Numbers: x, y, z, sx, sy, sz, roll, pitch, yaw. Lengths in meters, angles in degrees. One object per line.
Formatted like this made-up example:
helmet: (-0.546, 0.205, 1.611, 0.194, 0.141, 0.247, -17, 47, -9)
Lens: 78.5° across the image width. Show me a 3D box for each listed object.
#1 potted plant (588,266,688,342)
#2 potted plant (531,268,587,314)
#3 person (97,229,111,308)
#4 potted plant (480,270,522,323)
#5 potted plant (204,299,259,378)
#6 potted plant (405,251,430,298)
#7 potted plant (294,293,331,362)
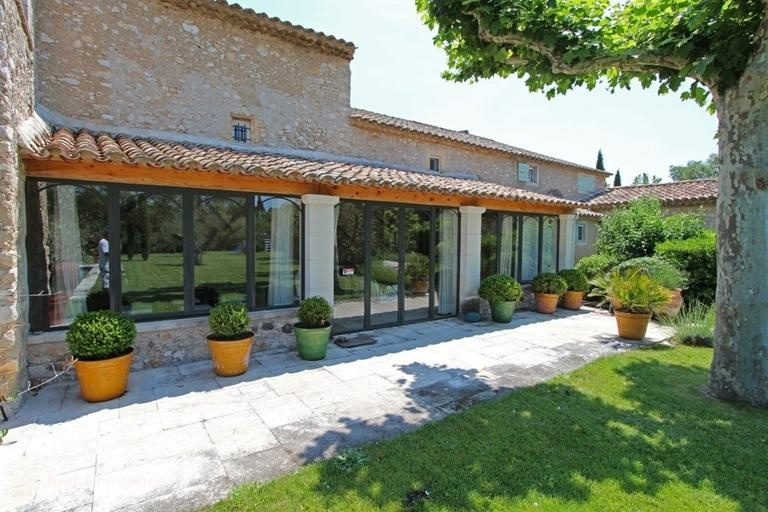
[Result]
potted plant: (6.089, 1.005, 11.453, 1.781, 1.450, 1.878, 2, 0, 17)
potted plant: (5.209, 1.039, 14.136, 1.630, 1.176, 0.839, -5, 10, -36)
person: (-5.508, 0.242, 9.163, 0.266, 1.408, 0.174, 4, 10, 23)
potted plant: (3.188, 1.152, 12.977, 1.217, 1.237, 1.153, 4, -10, -17)
potted plant: (-3.140, 1.653, 9.288, 0.901, 1.306, 0.961, -4, 0, -7)
potted plant: (0.852, 0.531, 12.689, 1.026, 1.364, 0.984, 0, -2, -6)
potted plant: (-1.547, 1.548, 10.027, 0.823, 1.253, 0.918, 4, -4, -41)
